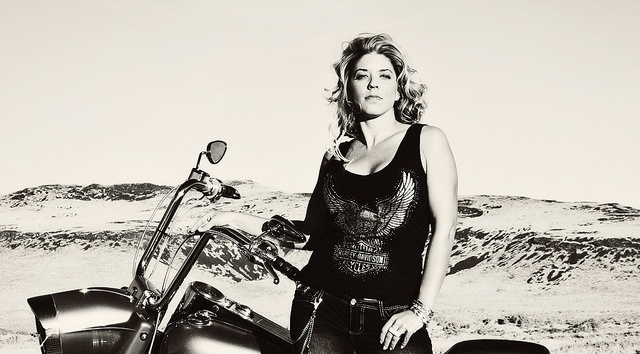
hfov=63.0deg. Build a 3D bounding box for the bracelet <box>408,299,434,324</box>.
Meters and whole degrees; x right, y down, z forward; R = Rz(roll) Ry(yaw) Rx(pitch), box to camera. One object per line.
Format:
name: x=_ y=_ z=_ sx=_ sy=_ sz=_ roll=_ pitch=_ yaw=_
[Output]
bracelet: x=0.884 y=1.184 z=4.637 sx=0.201 sy=0.147 sz=0.203 roll=45 pitch=-7 yaw=8
